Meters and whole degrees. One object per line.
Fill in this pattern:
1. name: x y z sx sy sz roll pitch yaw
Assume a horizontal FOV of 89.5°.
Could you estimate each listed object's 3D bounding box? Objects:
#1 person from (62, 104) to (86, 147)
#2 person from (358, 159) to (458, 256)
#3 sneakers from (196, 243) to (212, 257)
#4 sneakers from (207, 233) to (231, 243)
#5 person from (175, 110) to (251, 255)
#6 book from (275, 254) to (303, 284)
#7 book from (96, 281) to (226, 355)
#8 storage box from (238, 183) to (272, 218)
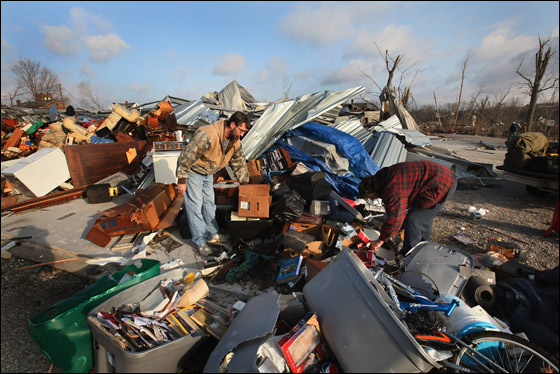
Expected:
1. person: -5.645 -1.574 7.788 0.594 0.702 0.631 -12 21 -29
2. person: 1.712 0.319 3.923 1.242 1.343 0.499 -9 22 -23
3. sneakers: -1.211 1.025 4.545 0.277 0.116 0.149 -10 23 46
4. sneakers: -1.031 0.870 4.843 0.402 0.121 0.132 -6 11 -10
5. person: -1.054 -0.052 4.518 1.145 2.229 0.607 -11 23 -26
6. book: 0.118 1.105 3.822 0.309 0.314 0.357 2 18 7
7. book: -1.219 1.374 2.976 0.634 0.252 0.859 16 21 35
8. storage box: -0.322 0.231 4.829 0.710 0.477 0.581 2 -3 0
